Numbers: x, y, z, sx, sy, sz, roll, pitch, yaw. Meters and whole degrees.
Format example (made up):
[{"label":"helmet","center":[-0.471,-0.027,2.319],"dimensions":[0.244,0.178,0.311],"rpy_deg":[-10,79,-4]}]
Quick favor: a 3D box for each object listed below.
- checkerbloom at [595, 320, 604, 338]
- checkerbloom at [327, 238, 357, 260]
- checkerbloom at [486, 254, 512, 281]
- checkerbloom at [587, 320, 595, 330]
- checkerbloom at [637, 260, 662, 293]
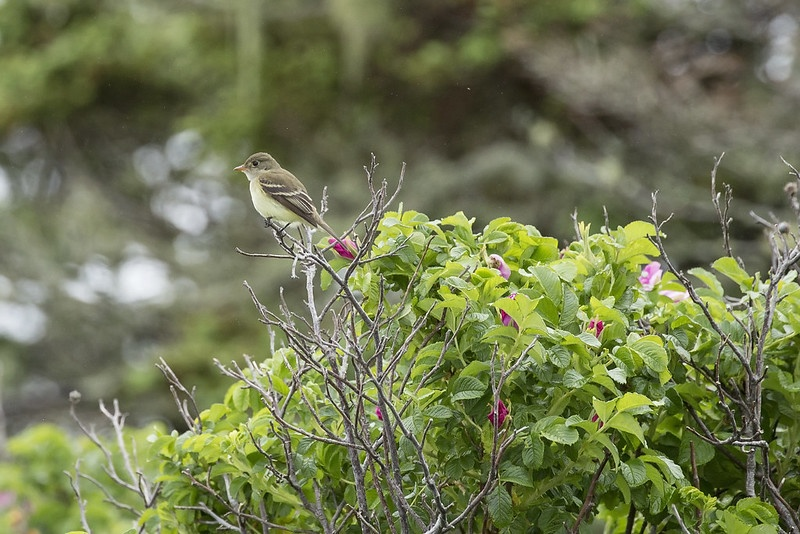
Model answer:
[{"label":"checkerbloom","center":[1.096,0.340,6.233],"dimensions":[0.071,0.082,0.044],"rpy_deg":[-13,-6,-1]},{"label":"checkerbloom","center":[-0.309,-0.103,6.338],"dimensions":[0.115,0.066,0.121],"rpy_deg":[-51,-9,20]},{"label":"checkerbloom","center":[0.565,-0.007,6.314],"dimensions":[0.113,0.118,0.202],"rpy_deg":[-14,-7,5]},{"label":"checkerbloom","center":[1.058,0.320,6.225],"dimensions":[0.041,0.042,0.025],"rpy_deg":[-12,-6,-6]},{"label":"checkerbloom","center":[1.486,0.055,6.692],"dimensions":[0.132,0.147,0.279],"rpy_deg":[-14,-7,13]}]
